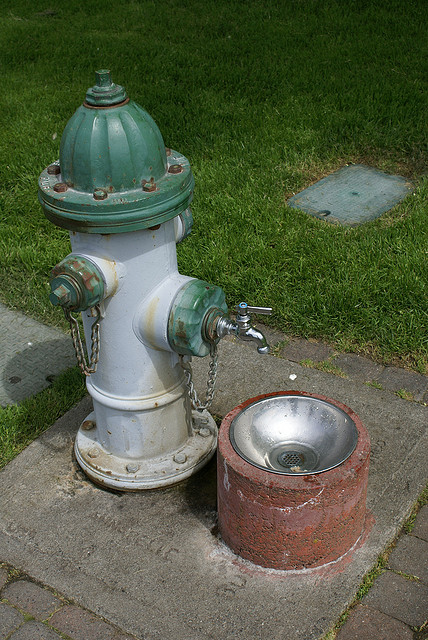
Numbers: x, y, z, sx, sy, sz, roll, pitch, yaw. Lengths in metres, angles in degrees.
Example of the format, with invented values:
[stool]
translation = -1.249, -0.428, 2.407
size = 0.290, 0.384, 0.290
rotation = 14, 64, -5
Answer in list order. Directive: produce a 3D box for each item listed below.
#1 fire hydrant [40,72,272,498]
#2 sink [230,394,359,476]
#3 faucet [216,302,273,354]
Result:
[fire hydrant]
translation = -0.389, 0.018, 2.723
size = 0.723, 1.820, 0.939
rotation = 15, 40, 22
[sink]
translation = 0.297, 0.452, 2.477
size = 0.460, 0.178, 0.424
rotation = 3, 24, 12
[faucet]
translation = 0.115, 0.019, 2.495
size = 0.224, 0.194, 0.115
rotation = 12, 37, 22
